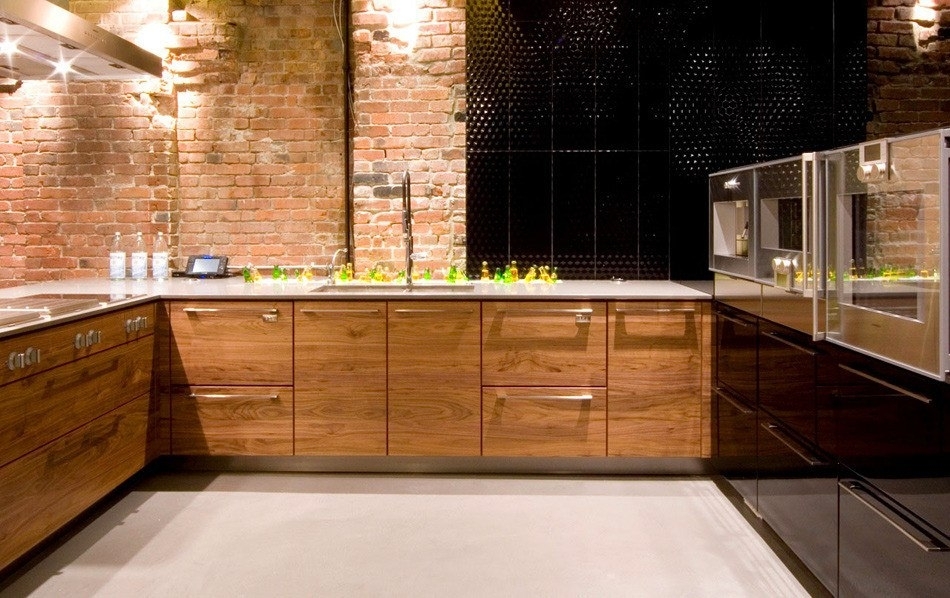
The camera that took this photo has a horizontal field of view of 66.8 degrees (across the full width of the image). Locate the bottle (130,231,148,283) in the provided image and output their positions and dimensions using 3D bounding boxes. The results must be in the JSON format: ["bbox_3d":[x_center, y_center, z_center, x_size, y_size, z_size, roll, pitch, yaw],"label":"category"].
[{"bbox_3d":[-2.370,-0.303,5.093,0.138,0.315,0.227,12,-23,-20],"label":"bottle"}]

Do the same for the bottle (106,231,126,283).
[{"bbox_3d":[-2.451,-0.283,4.939,0.069,0.307,0.279,9,-21,-13],"label":"bottle"}]
